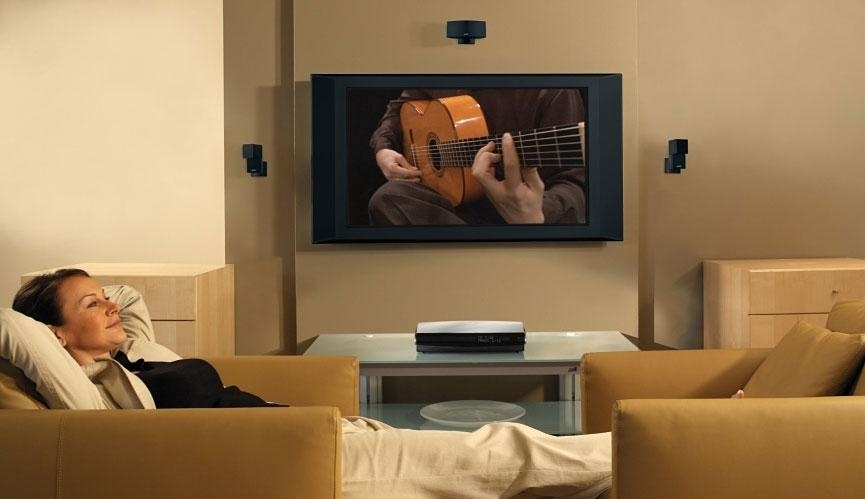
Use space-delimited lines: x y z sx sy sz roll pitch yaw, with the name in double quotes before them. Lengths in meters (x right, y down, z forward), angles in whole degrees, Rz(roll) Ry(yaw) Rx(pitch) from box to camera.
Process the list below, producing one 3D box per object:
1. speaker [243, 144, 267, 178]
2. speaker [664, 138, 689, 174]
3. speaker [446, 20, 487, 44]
"speaker" -1.254 -0.629 6.052 0.126 0.211 0.160 -5 -2 -7
"speaker" 1.758 -0.663 6.104 0.180 0.239 0.223 -2 6 3
"speaker" 0.246 -1.545 6.031 0.202 0.115 0.188 1 9 5
